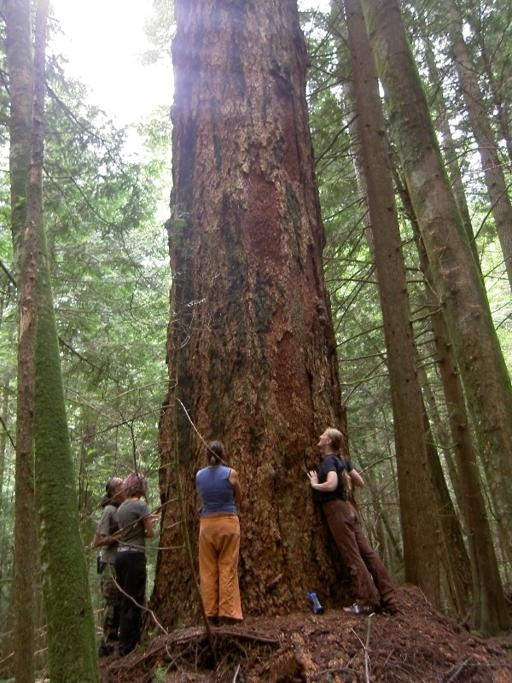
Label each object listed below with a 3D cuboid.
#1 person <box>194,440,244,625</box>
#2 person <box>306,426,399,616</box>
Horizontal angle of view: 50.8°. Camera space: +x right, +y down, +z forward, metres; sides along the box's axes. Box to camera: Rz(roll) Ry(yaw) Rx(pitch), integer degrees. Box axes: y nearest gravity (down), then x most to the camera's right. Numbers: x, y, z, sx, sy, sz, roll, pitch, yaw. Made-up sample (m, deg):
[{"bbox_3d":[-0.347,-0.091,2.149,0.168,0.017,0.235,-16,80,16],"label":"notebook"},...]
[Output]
[{"bbox_3d":[-0.252,1.333,3.807,0.307,1.149,0.629,9,-2,-19],"label":"person"},{"bbox_3d":[0.703,1.308,4.067,0.577,1.090,0.789,10,-2,-22],"label":"person"}]
